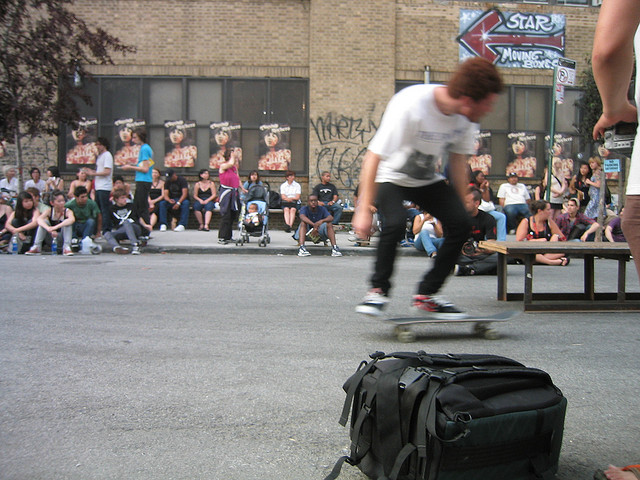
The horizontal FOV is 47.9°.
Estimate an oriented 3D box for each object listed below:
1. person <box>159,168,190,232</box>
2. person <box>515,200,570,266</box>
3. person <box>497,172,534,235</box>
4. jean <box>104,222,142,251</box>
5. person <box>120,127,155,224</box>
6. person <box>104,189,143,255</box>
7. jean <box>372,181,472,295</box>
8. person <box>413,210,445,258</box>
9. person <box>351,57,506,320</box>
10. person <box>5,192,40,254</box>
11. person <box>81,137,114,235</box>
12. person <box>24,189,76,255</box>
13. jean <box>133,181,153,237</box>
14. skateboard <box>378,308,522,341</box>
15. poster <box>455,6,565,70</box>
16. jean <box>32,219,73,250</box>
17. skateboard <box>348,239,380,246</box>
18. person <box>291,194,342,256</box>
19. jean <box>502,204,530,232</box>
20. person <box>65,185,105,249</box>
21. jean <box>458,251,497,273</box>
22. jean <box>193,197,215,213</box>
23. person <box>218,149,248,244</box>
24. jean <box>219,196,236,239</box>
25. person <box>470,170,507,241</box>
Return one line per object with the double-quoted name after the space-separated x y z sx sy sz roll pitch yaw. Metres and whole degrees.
-3.605 -0.964 17.978 0.644 1.513 0.645 0 8 -14 "person"
3.495 -0.078 11.464 0.668 1.068 1.802 2 2 18 "person"
4.604 -0.880 16.954 0.856 1.590 0.805 5 8 -5 "person"
-3.703 -0.077 13.868 0.483 0.625 0.574 6 -10 2 "jean"
-3.909 -1.380 15.629 0.784 2.521 0.704 1 11 -8 "person"
-3.719 -0.289 13.751 0.678 1.252 0.627 3 9 -10 "person"
0.875 -0.015 6.856 0.848 1.035 0.808 1 9 -14 "jean"
2.016 -0.096 13.329 0.780 1.014 0.695 7 9 15 "person"
0.950 -0.430 6.418 1.209 2.291 0.913 1 2 2 "person"
-5.492 -0.334 13.582 0.610 1.169 0.615 -4 11 -36 "person"
-4.438 -1.102 14.529 0.596 1.849 0.626 -4 6 -37 "person"
-4.975 -0.308 13.489 0.802 1.183 0.827 0 2 -12 "person"
-3.878 -0.606 15.729 0.400 1.518 0.413 -6 -28 -10 "jean"
1.175 0.738 6.516 1.476 0.275 0.473 -2 5 -2 "skateboard"
5.253 -5.506 19.796 2.977 1.634 0.239 1 2 -5 "poster"
-4.992 -0.026 13.433 0.739 0.568 0.921 -2 1 -30 "jean"
1.002 0.074 15.499 0.761 0.187 0.105 4 -38 -17 "skateboard"
-0.042 -0.257 14.204 0.795 1.092 1.266 -1 -3 -7 "person"
4.112 -0.445 15.158 0.670 0.621 0.364 -3 2 -26 "jean"
-4.506 -0.482 13.942 0.641 1.315 0.610 -2 10 -31 "person"
2.476 0.376 11.303 0.536 0.198 0.406 2 0 19 "jean"
-2.901 -0.848 18.199 0.408 0.380 0.163 3 2 -1 "jean"
-1.860 -0.887 15.350 0.743 1.881 0.619 0 1 -13 "person"
-1.924 -0.439 15.148 0.176 0.898 0.545 2 2 20 "jean"
3.392 -0.745 14.669 0.815 1.768 0.754 5 8 14 "person"
